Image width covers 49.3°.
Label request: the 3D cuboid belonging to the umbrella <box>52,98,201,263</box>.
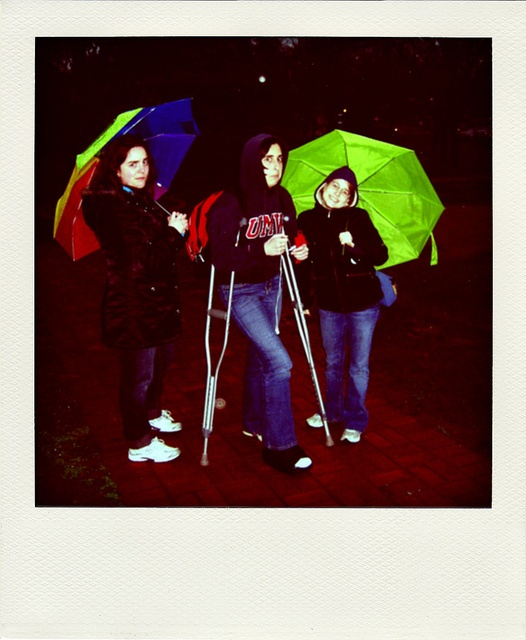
[{"bbox_3d":[-0.813,-0.813,3.278,0.516,0.887,0.852,2,10,34],"label":"umbrella"}]

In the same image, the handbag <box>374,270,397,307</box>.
[{"bbox_3d":[0.785,-0.218,3.650,0.131,0.213,0.223,-13,37,13],"label":"handbag"}]

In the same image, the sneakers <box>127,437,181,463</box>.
[{"bbox_3d":[-0.684,0.820,3.628,0.326,0.153,0.126,1,3,-6],"label":"sneakers"}]

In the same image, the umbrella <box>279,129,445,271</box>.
[{"bbox_3d":[0.756,-0.762,3.863,0.915,0.898,0.435,4,13,10],"label":"umbrella"}]

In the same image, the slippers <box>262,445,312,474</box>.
[{"bbox_3d":[0.153,0.819,3.490,0.271,0.181,0.146,2,16,24],"label":"slippers"}]

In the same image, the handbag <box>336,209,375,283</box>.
[{"bbox_3d":[0.545,-0.410,3.398,0.209,0.334,0.123,2,17,10],"label":"handbag"}]

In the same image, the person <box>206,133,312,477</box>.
[{"bbox_3d":[0.004,-0.058,3.342,0.512,1.964,0.584,-2,8,12],"label":"person"}]

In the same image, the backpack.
[{"bbox_3d":[-0.265,-0.460,3.096,0.203,0.422,0.327,-7,-19,-44],"label":"backpack"}]

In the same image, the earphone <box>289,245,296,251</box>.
[{"bbox_3d":[0.176,-0.417,3.365,0.044,0.045,0.041,10,22,36],"label":"earphone"}]

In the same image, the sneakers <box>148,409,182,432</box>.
[{"bbox_3d":[-0.661,0.697,3.909,0.252,0.112,0.097,10,17,-15],"label":"sneakers"}]
